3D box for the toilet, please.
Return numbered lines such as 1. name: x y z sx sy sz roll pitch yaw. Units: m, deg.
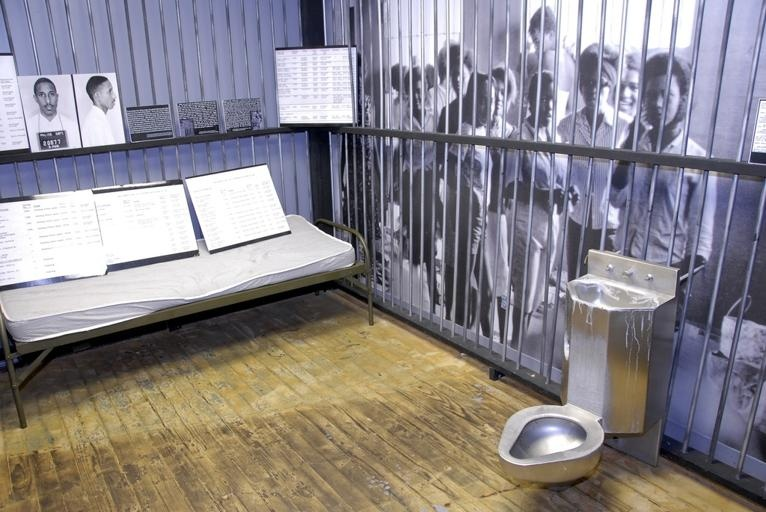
1. toilet: 1.167 0.634 2.806 1.104 1.067 0.554 -20 26 -37
